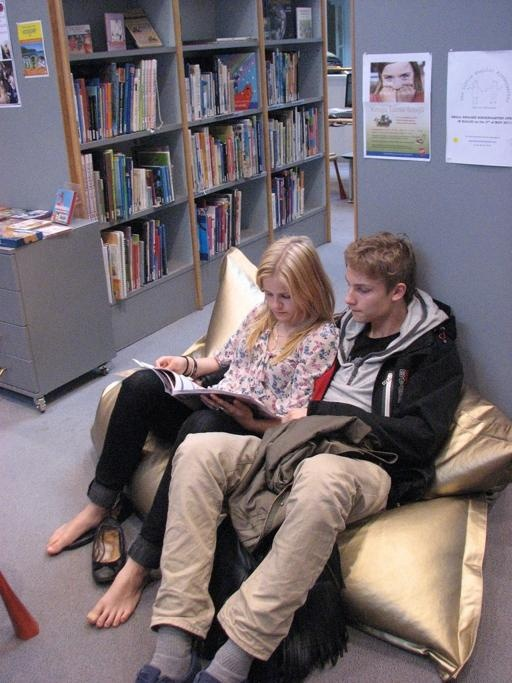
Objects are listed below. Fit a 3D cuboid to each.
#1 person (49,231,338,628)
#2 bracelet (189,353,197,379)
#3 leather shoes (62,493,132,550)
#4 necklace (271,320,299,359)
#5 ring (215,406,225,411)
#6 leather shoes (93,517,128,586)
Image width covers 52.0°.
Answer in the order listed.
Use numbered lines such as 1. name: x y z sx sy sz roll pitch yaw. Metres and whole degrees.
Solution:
1. person: -0.137 0.172 1.384 0.753 0.888 0.417 -8 23 -42
2. bracelet: -0.186 0.077 1.572 0.018 0.049 0.041 -1 5 -31
3. leather shoes: -0.439 0.514 1.511 0.074 0.085 0.223 15 16 24
4. necklace: 0.083 -0.002 1.447 0.031 0.095 0.072 21 -7 -35
5. ring: -0.093 0.172 1.349 0.019 0.008 0.014 10 3 19
6. leather shoes: -0.387 0.535 1.391 0.086 0.060 0.256 -2 13 -14
